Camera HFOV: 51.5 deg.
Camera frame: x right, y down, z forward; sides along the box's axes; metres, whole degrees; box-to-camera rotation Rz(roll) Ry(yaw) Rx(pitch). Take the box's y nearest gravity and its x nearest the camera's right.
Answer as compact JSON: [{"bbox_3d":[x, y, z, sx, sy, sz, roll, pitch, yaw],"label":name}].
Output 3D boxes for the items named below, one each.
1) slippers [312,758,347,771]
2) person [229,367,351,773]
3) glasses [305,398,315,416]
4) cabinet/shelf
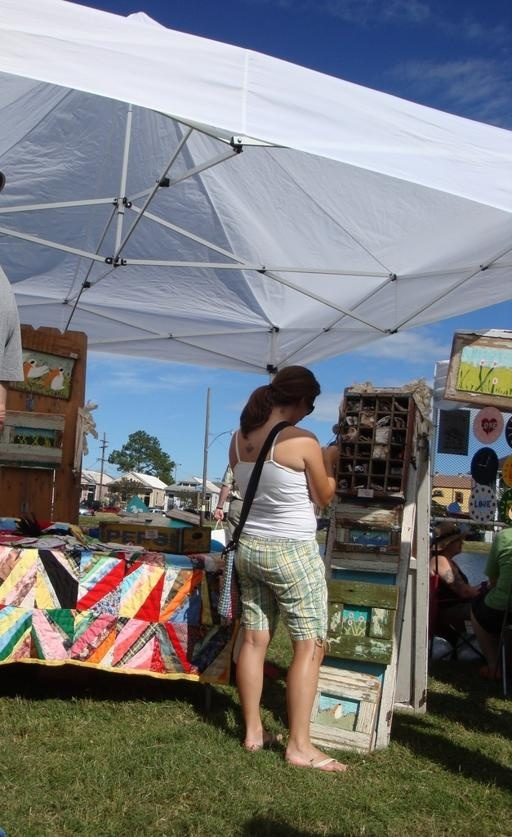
[{"bbox_3d":[0.308,1.425,2.221,0.121,0.034,0.063,1,-2,-4],"label":"slippers"},{"bbox_3d":[0.148,0.604,2.428,0.697,1.486,0.287,6,-3,29],"label":"person"},{"bbox_3d":[0.231,-0.056,2.300,0.051,0.067,0.060,-3,-18,1],"label":"glasses"},{"bbox_3d":[0.705,0.100,3.181,0.362,0.615,0.205,5,25,12],"label":"cabinet/shelf"}]
